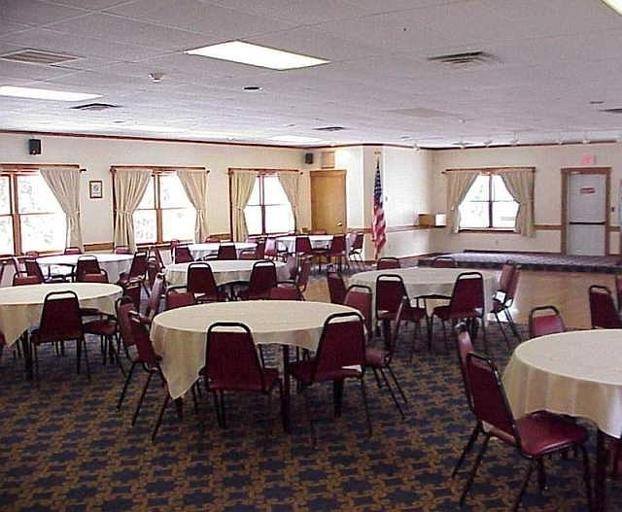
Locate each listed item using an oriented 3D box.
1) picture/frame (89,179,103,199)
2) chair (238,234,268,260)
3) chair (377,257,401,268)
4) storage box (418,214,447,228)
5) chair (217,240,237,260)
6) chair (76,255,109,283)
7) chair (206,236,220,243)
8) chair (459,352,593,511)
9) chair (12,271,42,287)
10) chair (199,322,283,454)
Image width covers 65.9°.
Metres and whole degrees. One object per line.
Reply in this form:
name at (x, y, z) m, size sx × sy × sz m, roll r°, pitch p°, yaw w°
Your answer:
picture/frame at (-4.771, -1.486, 10.562) m, size 0.054 × 0.507 × 0.414 m, roll 2°, pitch 4°, yaw 40°
chair at (-1.209, -0.187, 10.085) m, size 0.561 × 0.950 × 0.503 m, roll 2°, pitch 2°, yaw 1°
chair at (1.197, 0.113, 7.457) m, size 0.298 × 0.298 × 0.232 m, roll 0°, pitch -3°, yaw 6°
storage box at (3.844, -1.120, 15.109) m, size 0.556 × 0.433 × 0.967 m, roll 4°, pitch 7°, yaw 44°
chair at (-1.680, -0.122, 9.590) m, size 0.315 × 0.569 × 0.361 m, roll -1°, pitch 15°, yaw -14°
chair at (-3.454, 0.208, 7.539) m, size 0.395 × 0.703 × 0.402 m, roll -1°, pitch -4°, yaw -15°
chair at (-2.458, -0.410, 11.892) m, size 0.221 × 0.198 × 0.225 m, roll -1°, pitch 5°, yaw -1°
chair at (1.159, 0.953, 2.647) m, size 0.694 × 0.866 × 0.481 m, roll -2°, pitch 5°, yaw -6°
chair at (-4.057, 0.327, 6.865) m, size 0.206 × 0.161 × 0.220 m, roll 2°, pitch -3°, yaw -19°
chair at (-0.527, 0.890, 3.673) m, size 0.598 × 0.955 × 0.902 m, roll -3°, pitch 5°, yaw -13°
